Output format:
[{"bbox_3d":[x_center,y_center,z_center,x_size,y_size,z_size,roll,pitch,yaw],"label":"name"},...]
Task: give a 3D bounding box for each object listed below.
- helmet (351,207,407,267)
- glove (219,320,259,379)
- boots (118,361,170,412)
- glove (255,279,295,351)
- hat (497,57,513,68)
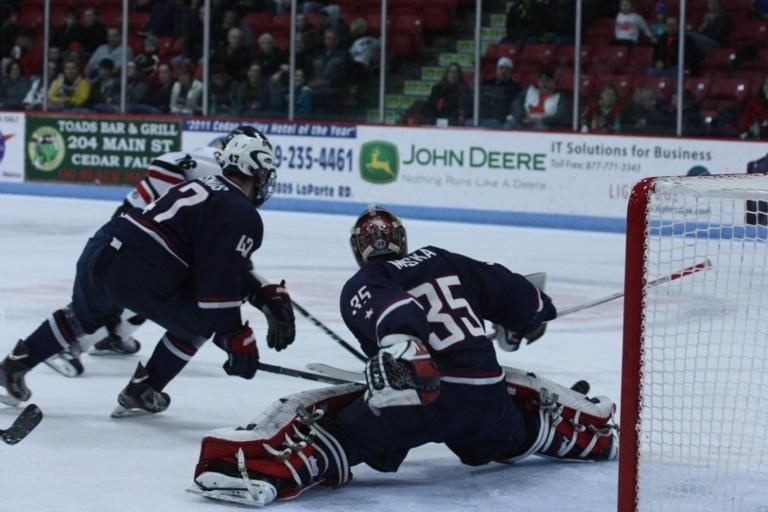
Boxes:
[{"bbox_3d":[-0.026,-0.088,5.679,0.314,0.298,0.343,-7,7,5],"label":"helmet"},{"bbox_3d":[-0.746,0.488,5.743,0.183,0.279,0.232,5,9,23],"label":"glove"},{"bbox_3d":[-1.310,0.715,5.953,0.142,0.254,0.385,10,5,35],"label":"boots"},{"bbox_3d":[-0.561,0.301,5.855,0.300,0.330,0.147,0,-19,-20],"label":"glove"},{"bbox_3d":[1.154,-1.856,10.566,0.144,0.103,0.052,3,3,1],"label":"hat"}]
